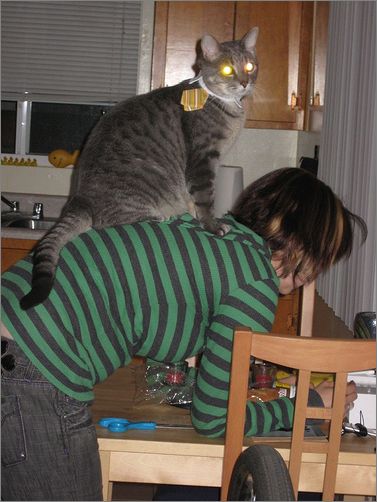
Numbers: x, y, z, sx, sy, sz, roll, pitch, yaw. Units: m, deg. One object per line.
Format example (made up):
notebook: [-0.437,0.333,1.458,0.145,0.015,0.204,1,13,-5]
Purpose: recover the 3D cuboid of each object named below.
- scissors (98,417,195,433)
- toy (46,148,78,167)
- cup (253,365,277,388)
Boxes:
scissors: [-0.085,0.310,0.872,0.152,0.011,0.054,2,1,-9]
toy: [-0.745,-0.548,2.848,0.193,0.088,0.084,-2,21,0]
cup: [0.169,0.280,1.069,0.054,0.034,0.040,-1,8,4]
